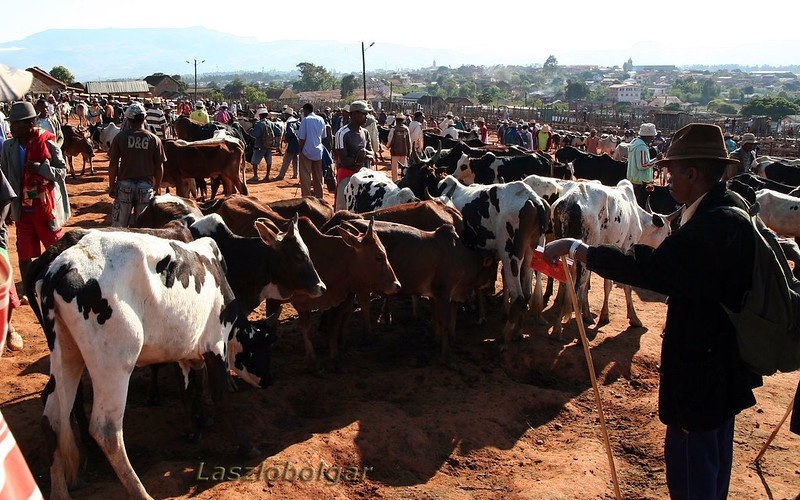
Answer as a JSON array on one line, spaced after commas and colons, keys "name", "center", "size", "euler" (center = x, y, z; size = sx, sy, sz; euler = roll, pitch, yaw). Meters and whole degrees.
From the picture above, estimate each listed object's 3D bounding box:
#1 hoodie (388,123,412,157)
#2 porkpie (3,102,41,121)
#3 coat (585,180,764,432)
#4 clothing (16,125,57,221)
[{"name": "hoodie", "center": [0.004, -3.437, 16.515], "size": [0.853, 0.901, 0.479], "euler": [-6, 16, -21]}, {"name": "porkpie", "center": [-4.626, -1.693, 6.461], "size": [0.298, 0.156, 0.303], "euler": [4, 17, 17]}, {"name": "coat", "center": [2.213, 0.485, 4.621], "size": [1.456, 2.195, 1.378], "euler": [-10, 18, -11]}, {"name": "clothing", "center": [-4.801, -0.943, 6.883], "size": [0.516, 1.383, 0.612], "euler": [5, 4, 41]}]
